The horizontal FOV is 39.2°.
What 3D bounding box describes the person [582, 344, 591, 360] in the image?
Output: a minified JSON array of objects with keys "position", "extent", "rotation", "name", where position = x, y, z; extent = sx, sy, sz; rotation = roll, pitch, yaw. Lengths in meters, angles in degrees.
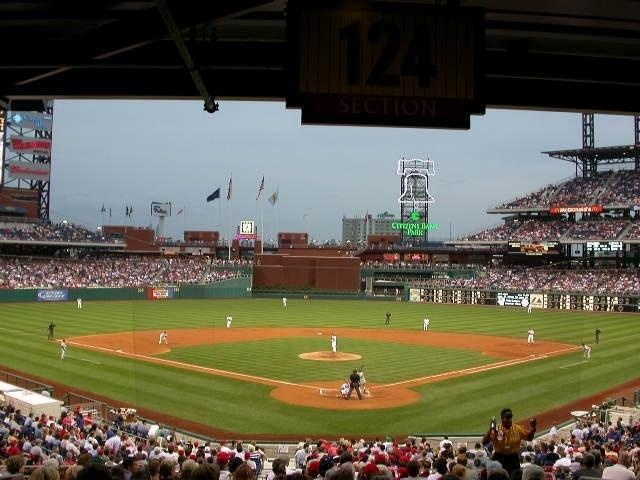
[{"position":[14.057,5.907,47.614],"extent":[0.378,0.826,0.304],"rotation":[-5,27,15],"name":"person"}]
